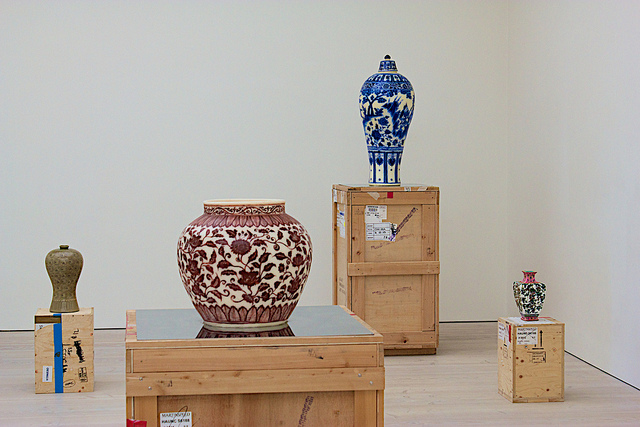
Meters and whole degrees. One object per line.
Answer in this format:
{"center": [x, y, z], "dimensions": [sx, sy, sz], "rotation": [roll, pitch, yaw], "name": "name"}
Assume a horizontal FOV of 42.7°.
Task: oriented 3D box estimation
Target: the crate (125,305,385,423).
{"center": [-0.327, 0.862, 4.227], "dimensions": [1.313, 0.447, 0.127], "rotation": [0, 12, -2], "name": "crate"}

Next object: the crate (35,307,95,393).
{"center": [-1.906, 0.956, 6.112], "dimensions": [0.497, 0.627, 0.515], "rotation": [-5, 19, -30], "name": "crate"}

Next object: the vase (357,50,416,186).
{"center": [0.541, -0.765, 6.672], "dimensions": [0.436, 1.040, 0.262], "rotation": [1, 12, 7], "name": "vase"}

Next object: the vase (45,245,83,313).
{"center": [-1.879, 0.477, 6.049], "dimensions": [0.279, 0.500, 0.282], "rotation": [2, 4, 26], "name": "vase"}

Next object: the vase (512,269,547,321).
{"center": [1.508, 0.579, 5.885], "dimensions": [0.258, 0.379, 0.253], "rotation": [-7, 7, -39], "name": "vase"}

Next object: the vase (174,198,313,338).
{"center": [-0.400, 0.269, 4.484], "dimensions": [0.694, 0.715, 0.664], "rotation": [-1, 5, -11], "name": "vase"}

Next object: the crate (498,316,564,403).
{"center": [1.487, 1.015, 5.766], "dimensions": [0.473, 0.772, 0.507], "rotation": [0, -3, -2], "name": "crate"}
